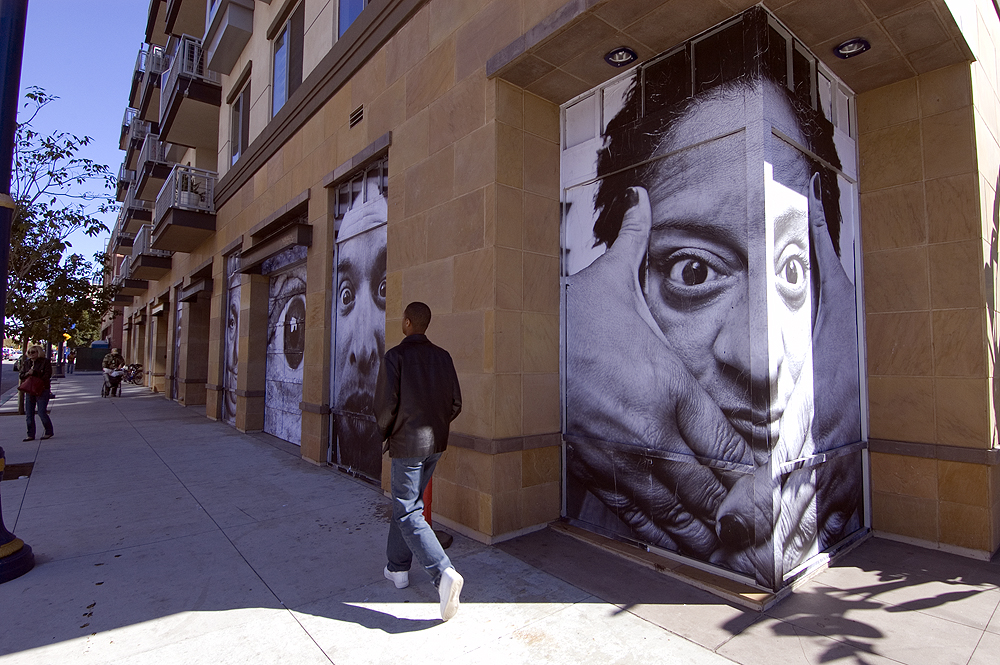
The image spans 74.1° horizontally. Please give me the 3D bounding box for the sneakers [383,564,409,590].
[{"bbox_3d":[-1.248,2.949,7.985,0.144,0.182,0.365,2,5,-27],"label":"sneakers"}]

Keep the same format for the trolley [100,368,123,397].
[{"bbox_3d":[-15.564,2.037,26.445,0.726,1.017,1.613,2,-5,-30],"label":"trolley"}]

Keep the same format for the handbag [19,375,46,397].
[{"bbox_3d":[-10.362,1.179,14.684,0.616,0.642,0.275,-1,10,-35],"label":"handbag"}]

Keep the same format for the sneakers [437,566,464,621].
[{"bbox_3d":[-0.574,2.865,7.448,0.215,0.654,0.256,6,0,-27],"label":"sneakers"}]
